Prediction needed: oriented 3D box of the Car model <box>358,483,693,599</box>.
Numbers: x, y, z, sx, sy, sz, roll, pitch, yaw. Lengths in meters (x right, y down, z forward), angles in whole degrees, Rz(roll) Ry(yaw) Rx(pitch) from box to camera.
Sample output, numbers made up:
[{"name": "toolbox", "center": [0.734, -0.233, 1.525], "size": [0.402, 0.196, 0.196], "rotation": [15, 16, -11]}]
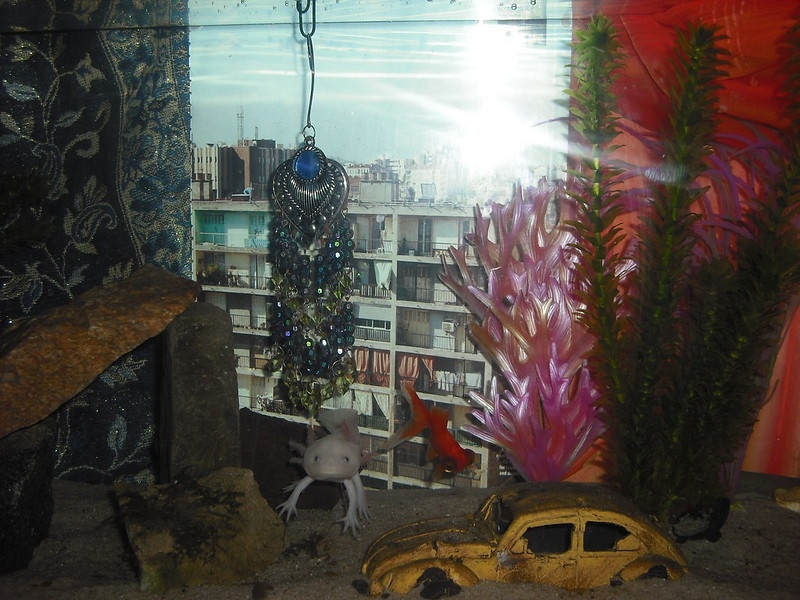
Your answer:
[{"name": "Car model", "center": [0.407, 0.818, 2.593], "size": [1.064, 0.359, 0.206], "rotation": [2, 4, -1]}]

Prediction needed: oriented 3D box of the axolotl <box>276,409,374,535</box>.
[{"name": "axolotl", "center": [-0.256, 0.608, 2.948], "size": [0.319, 0.373, 0.609], "rotation": [7, 12, -2]}]
